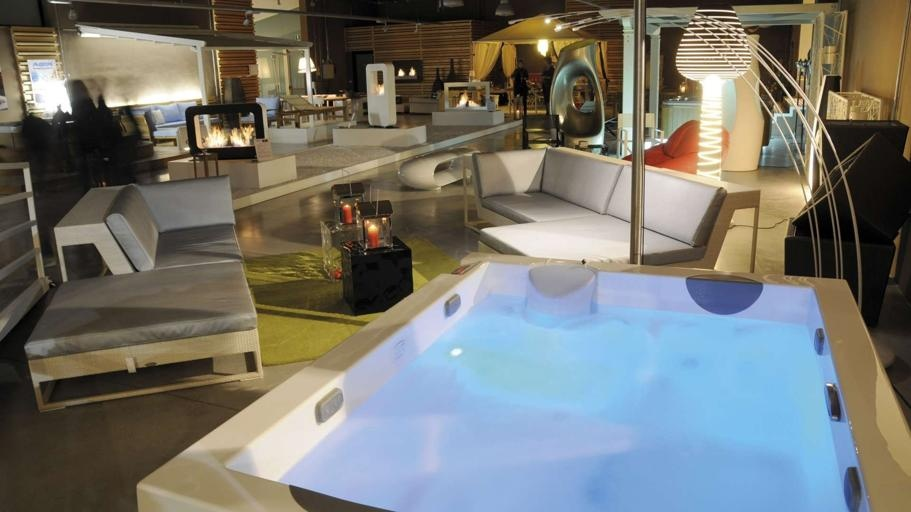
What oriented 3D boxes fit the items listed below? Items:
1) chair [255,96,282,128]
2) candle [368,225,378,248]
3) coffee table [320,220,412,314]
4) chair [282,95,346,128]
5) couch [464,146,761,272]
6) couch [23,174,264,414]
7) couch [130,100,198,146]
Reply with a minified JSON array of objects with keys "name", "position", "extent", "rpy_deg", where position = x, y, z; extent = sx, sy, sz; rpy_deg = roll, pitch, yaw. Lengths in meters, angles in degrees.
[{"name":"chair","position":[-5.316,-4.222,15.588],"extent":[0.610,0.649,3.766],"rpy_deg":[-10,22,-17]},{"name":"candle","position":[-0.758,-0.184,5.013],"extent":[0.108,0.199,0.072],"rpy_deg":[-5,23,-4]},{"name":"coffee table","position":[-0.856,0.122,5.107],"extent":[0.853,0.494,0.470],"rpy_deg":[8,26,19]},{"name":"chair","position":[-4.057,-4.256,15.588],"extent":[1.933,0.791,3.276],"rpy_deg":[-7,21,-13]},{"name":"couch","position":[1.242,-0.546,5.670],"extent":[2.110,0.808,2.886],"rpy_deg":[-12,23,-23]},{"name":"couch","position":[-2.711,0.347,4.702],"extent":[1.274,0.682,2.128],"rpy_deg":[-6,31,-16]},{"name":"couch","position":[-7.424,-3.379,13.708],"extent":[1.228,0.792,2.621],"rpy_deg":[-12,23,-23]}]
